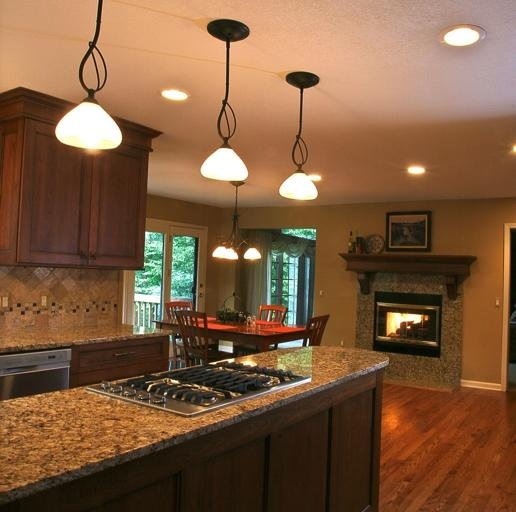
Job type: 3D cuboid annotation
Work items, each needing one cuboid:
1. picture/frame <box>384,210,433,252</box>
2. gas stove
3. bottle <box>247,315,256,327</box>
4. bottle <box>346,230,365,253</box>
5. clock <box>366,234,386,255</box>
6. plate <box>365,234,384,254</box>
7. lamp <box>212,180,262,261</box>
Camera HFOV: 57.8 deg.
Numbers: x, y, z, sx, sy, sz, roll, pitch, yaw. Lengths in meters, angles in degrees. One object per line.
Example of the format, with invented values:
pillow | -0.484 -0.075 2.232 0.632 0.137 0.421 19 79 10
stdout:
picture/frame | 2.169 -0.359 6.626 0.650 0.572 0.052 2 -3 29
gas stove | -0.213 0.509 1.931 0.588 0.058 0.790 3 0 38
bottle | -0.076 0.738 5.353 0.081 0.081 0.081 -3 -7 38
bottle | 1.465 -0.207 6.909 0.278 0.344 0.459 4 0 11
clock | 1.729 -0.181 6.876 0.271 0.252 0.064 -2 -5 41
plate | 1.724 -0.184 6.879 0.271 0.251 0.062 -3 -6 38
lamp | -0.282 -0.475 5.869 0.665 0.909 0.600 2 8 -3
